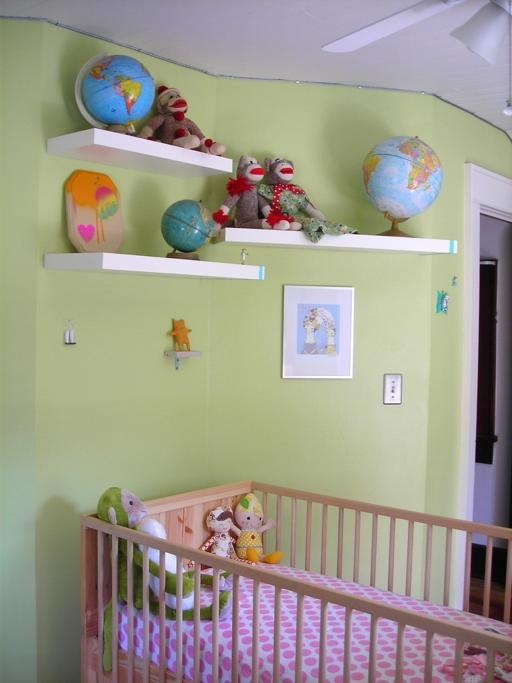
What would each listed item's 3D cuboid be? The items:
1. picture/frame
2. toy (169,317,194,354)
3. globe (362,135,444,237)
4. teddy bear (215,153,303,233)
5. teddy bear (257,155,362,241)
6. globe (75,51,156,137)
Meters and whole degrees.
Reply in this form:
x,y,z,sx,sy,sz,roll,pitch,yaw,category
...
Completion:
x,y,z,sx,sy,sz,roll,pitch,yaw,category
0.236,-0.033,2.323,0.400,0.500,0.017,-1,3,-12,picture/frame
-0.275,-0.020,2.128,0.068,0.117,0.114,-1,5,1,toy
0.537,-0.565,2.176,0.296,0.347,0.293,4,6,-4,globe
0.013,-0.482,2.190,0.287,0.304,0.313,0,1,40,teddy bear
0.148,-0.483,2.159,0.348,0.266,0.339,22,25,34,teddy bear
-0.411,-0.710,1.825,0.237,0.231,0.236,-6,5,36,globe
